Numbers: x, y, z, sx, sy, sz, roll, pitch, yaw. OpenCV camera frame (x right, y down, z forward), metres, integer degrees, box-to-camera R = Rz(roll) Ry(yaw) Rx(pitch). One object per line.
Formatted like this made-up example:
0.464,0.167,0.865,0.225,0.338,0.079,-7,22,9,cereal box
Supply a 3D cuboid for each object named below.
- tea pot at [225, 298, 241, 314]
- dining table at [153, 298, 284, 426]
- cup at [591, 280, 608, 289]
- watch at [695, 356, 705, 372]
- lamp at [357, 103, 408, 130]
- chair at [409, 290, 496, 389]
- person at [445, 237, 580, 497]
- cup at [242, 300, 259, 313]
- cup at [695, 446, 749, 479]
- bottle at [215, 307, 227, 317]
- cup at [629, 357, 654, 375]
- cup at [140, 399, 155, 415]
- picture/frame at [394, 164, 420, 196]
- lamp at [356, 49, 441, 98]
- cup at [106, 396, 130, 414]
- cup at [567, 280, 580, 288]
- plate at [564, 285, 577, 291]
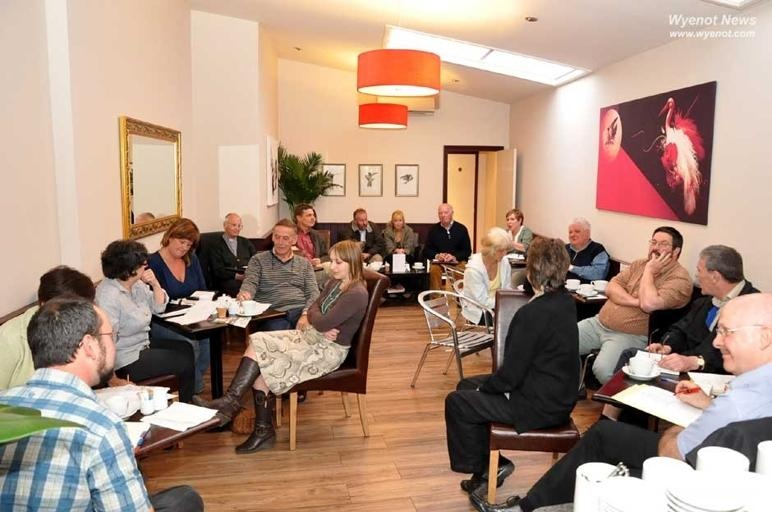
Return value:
-1.313,0.438,4.608,0.137,0.128,0.102,-1,5,-10,tea pot
-1.456,0.803,4.611,0.848,0.803,0.833,-7,13,-38,dining table
2.275,0.302,5.680,0.157,0.084,0.116,-5,11,5,cup
2.199,0.750,3.730,0.038,0.106,0.104,-3,42,21,watch
-0.026,-2.349,8.920,0.728,0.387,0.928,3,12,10,lamp
0.708,0.861,5.343,0.847,0.897,0.908,2,3,23,chair
0.870,0.825,3.778,0.974,1.719,0.684,-1,2,24,person
-1.176,0.441,4.577,0.104,0.074,0.099,-2,8,0,cup
1.233,0.762,1.953,0.153,0.066,0.127,-2,12,-11,cup
-1.364,0.465,4.413,0.082,0.063,0.076,-1,1,0,bottle
1.625,0.687,3.397,0.123,0.086,0.115,-2,1,0,cup
-1.322,0.837,2.951,0.079,0.079,0.077,-1,3,0,cup
0.397,-1.575,10.831,0.661,0.810,0.042,0,7,-8,picture/frame
0.127,-1.938,5.550,0.829,0.447,0.559,0,12,-2,lamp
-1.435,0.799,2.860,0.104,0.072,0.081,5,-1,-15,cup
2.001,0.299,5.700,0.111,0.071,0.110,-6,11,1,cup
1.810,0.311,5.226,0.141,0.036,0.138,-1,3,-30,plate
